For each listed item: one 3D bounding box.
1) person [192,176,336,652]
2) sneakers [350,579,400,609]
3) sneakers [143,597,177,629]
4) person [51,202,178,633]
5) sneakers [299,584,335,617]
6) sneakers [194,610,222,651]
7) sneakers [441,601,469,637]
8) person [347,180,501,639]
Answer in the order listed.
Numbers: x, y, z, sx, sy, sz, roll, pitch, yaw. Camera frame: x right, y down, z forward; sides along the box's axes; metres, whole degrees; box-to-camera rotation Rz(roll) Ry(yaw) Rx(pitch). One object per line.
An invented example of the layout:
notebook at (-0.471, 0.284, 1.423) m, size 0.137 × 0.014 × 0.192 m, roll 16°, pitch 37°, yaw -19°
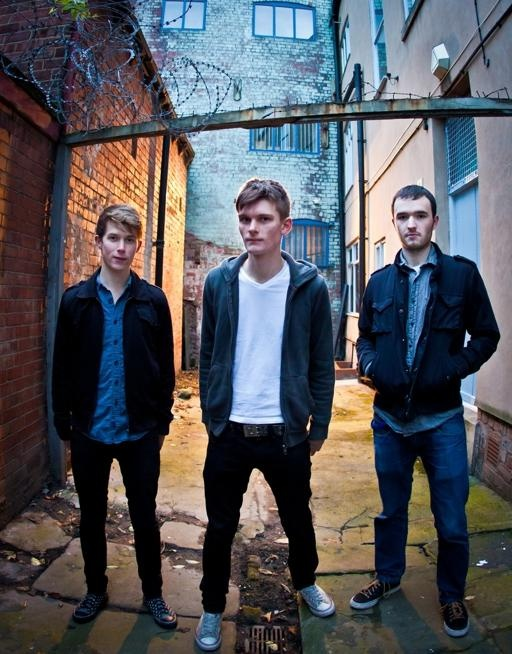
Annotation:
person at (0.031, 0.371, 2.114) m, size 0.619 × 1.625 × 0.310 m, roll 6°, pitch 2°, yaw -5°
sneakers at (0.545, 1.227, 2.328) m, size 0.267 × 0.105 × 0.088 m, roll -3°, pitch 1°, yaw -27°
sneakers at (-0.426, 1.273, 2.195) m, size 0.067 × 0.072 × 0.182 m, roll 8°, pitch -12°, yaw -33°
person at (-0.608, 0.369, 2.246) m, size 0.661 × 1.328 × 0.341 m, roll 6°, pitch 2°, yaw -6°
sneakers at (0.276, 1.251, 2.270) m, size 0.077 × 0.081 × 0.206 m, roll -15°, pitch -9°, yaw -17°
sneakers at (-0.195, 1.278, 2.047) m, size 0.064 × 0.074 × 0.189 m, roll 7°, pitch 8°, yaw 0°
sneakers at (0.835, 1.221, 2.057) m, size 0.115 × 0.140 × 0.101 m, roll 7°, pitch 3°, yaw 25°
person at (0.727, 0.329, 2.227) m, size 0.623 × 1.973 × 0.367 m, roll 7°, pitch 2°, yaw 18°
